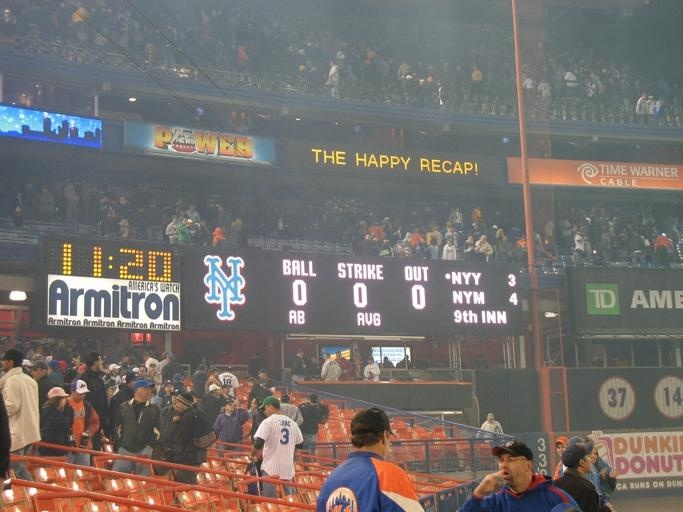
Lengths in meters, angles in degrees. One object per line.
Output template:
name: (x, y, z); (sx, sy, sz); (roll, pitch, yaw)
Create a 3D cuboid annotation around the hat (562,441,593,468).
hat: (6.457, 5.402, 37.933); (0.450, 0.861, 0.552); (50, -17, -30)
